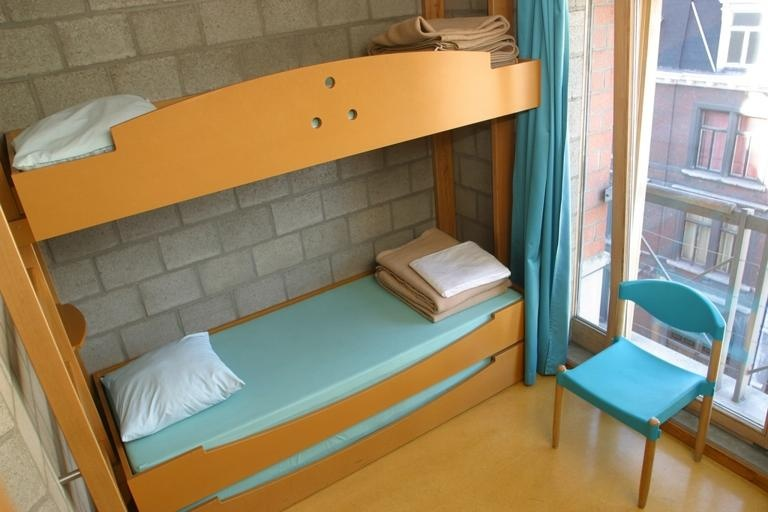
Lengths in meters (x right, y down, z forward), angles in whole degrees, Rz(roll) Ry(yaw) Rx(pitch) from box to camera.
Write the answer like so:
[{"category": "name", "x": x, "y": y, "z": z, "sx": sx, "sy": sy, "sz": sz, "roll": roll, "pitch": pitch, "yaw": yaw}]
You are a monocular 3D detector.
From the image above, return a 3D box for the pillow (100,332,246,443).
[{"category": "pillow", "x": -1.060, "y": 0.735, "z": 2.975, "sx": 0.537, "sy": 0.155, "sz": 0.512, "roll": -23, "pitch": 35, "yaw": -25}]

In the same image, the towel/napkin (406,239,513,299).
[{"category": "towel/napkin", "x": 0.458, "y": 0.104, "z": 3.515, "sx": 0.523, "sy": 0.107, "sz": 0.489, "roll": -29, "pitch": 40, "yaw": -30}]

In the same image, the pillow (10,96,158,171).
[{"category": "pillow", "x": -1.301, "y": -0.558, "z": 2.540, "sx": 0.592, "sy": 0.140, "sz": 0.492, "roll": -17, "pitch": 32, "yaw": -18}]

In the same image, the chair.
[{"category": "chair", "x": 1.345, "y": 0.663, "z": 3.036, "sx": 0.750, "sy": 0.917, "sz": 0.632, "roll": -27, "pitch": 36, "yaw": -30}]
